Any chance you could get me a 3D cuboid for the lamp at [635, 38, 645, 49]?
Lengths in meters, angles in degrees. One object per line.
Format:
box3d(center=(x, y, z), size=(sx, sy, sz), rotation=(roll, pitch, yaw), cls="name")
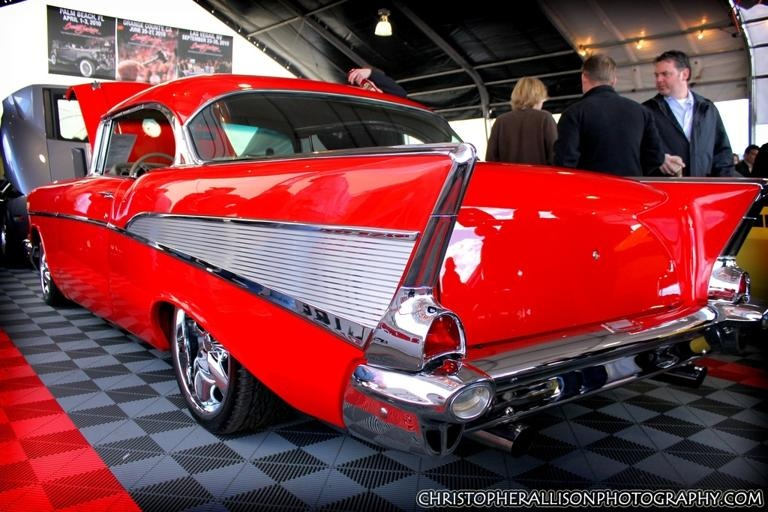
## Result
box3d(center=(6.195, -5.168, 10.126), size=(0.166, 0.158, 0.269), rotation=(6, 13, 29), cls="lamp")
